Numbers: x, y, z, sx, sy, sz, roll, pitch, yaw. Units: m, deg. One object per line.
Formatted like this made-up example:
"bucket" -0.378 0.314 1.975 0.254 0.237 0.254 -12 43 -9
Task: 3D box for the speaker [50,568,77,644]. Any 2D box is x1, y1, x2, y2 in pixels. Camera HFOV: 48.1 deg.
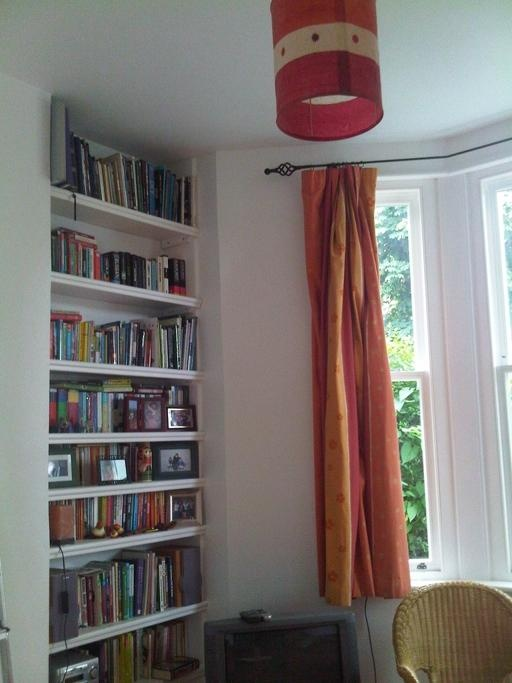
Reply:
"speaker" -0.728 0.998 2.162 0.049 0.237 0.142 -9 -6 34
